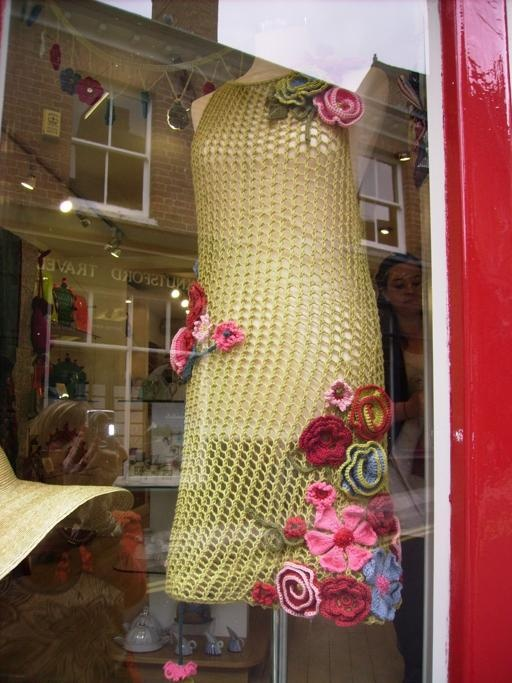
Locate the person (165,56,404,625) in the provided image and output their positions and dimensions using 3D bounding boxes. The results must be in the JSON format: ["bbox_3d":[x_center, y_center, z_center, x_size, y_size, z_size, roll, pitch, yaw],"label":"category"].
[{"bbox_3d":[0.050,-0.021,1.137,0.406,0.913,0.251,-3,-6,31],"label":"person"}]
